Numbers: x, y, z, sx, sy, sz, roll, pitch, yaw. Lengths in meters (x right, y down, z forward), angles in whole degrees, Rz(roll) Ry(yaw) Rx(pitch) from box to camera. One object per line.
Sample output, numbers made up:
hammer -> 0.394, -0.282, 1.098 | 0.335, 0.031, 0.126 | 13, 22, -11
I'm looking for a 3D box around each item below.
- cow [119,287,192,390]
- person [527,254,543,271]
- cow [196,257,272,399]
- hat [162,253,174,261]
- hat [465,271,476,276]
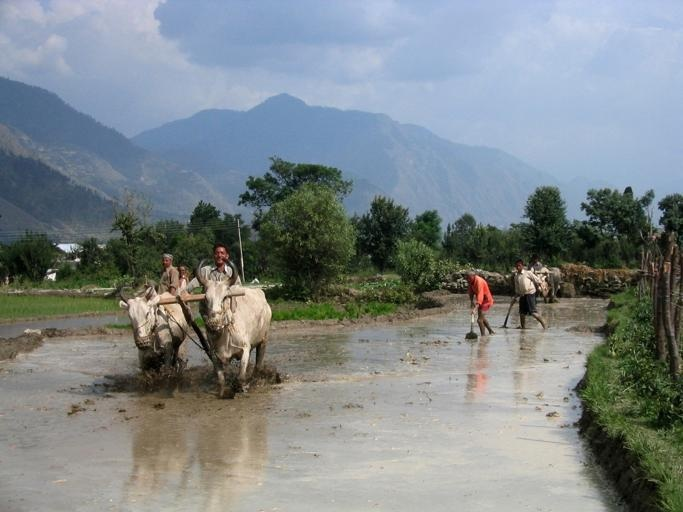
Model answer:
cow -> -3.935, 1.603, 15.113 | 0.650, 2.007, 1.505 | -1, -3, 26
person -> 10.728, 0.337, 39.213 | 0.570, 0.870, 0.323 | 12, 20, 33
cow -> -2.276, 1.602, 15.004 | 0.790, 2.565, 2.401 | 0, -3, 10
hat -> -4.181, 0.015, 17.058 | 0.265, 0.186, 0.270 | 3, -2, -8
hat -> 4.163, 0.565, 22.814 | 0.281, 0.244, 0.732 | -1, -3, 12
